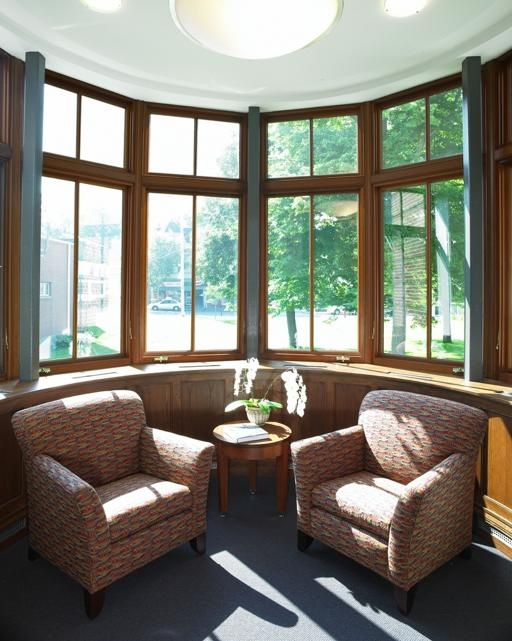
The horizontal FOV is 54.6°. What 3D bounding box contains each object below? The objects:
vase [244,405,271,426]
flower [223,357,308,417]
[{"bbox_3d":[0.011,0.650,3.459,0.138,0.106,0.139,-4,-6,42],"label":"vase"},{"bbox_3d":[0.120,0.479,3.521,0.394,0.363,0.630,5,-9,-32],"label":"flower"}]
